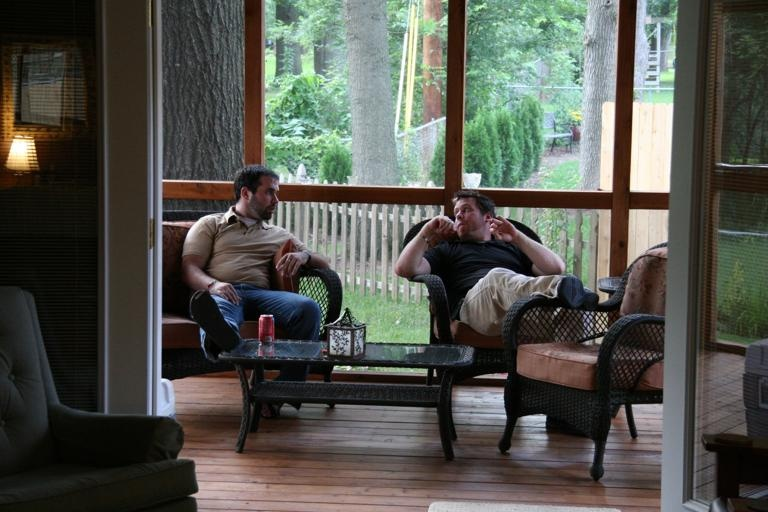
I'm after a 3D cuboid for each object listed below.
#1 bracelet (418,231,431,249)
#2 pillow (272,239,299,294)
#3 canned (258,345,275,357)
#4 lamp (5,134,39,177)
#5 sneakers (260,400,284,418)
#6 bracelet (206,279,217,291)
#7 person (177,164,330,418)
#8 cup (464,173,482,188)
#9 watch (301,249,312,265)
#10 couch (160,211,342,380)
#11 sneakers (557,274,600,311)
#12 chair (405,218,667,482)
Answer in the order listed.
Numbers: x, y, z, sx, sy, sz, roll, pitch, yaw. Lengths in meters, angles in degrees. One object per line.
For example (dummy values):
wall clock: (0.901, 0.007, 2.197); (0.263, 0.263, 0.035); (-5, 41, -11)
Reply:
bracelet: (0.248, -0.106, 4.723); (0.058, 0.085, 0.082); (16, 28, 32)
pillow: (-0.644, 0.084, 4.779); (0.134, 0.417, 0.338); (1, -1, -10)
canned: (-0.652, 0.524, 4.037); (0.055, 0.058, 0.103); (3, -1, -6)
lamp: (-1.663, -0.469, 3.370); (0.159, 0.175, 0.158); (5, 5, 40)
sneakers: (-0.685, 0.942, 4.465); (0.131, 0.166, 0.120); (-1, -4, -1)
bracelet: (-1.086, 0.185, 4.593); (0.052, 0.052, 0.016); (11, -29, 52)
person: (-0.840, 0.062, 4.550); (0.862, 1.517, 1.330); (4, -13, -4)
cup: (0.626, -0.537, 5.186); (0.107, 0.084, 0.106); (0, -1, 0)
watch: (-0.515, 0.004, 4.760); (0.055, 0.086, 0.085); (-8, 39, -28)
couch: (-0.949, 0.219, 4.782); (1.000, 0.899, 1.038); (1, -2, -24)
sneakers: (1.098, 0.200, 4.156); (0.206, 0.087, 0.212); (3, 7, 0)
chair: (0.864, 0.506, 4.087); (1.000, 1.362, 1.186); (0, -5, 24)
